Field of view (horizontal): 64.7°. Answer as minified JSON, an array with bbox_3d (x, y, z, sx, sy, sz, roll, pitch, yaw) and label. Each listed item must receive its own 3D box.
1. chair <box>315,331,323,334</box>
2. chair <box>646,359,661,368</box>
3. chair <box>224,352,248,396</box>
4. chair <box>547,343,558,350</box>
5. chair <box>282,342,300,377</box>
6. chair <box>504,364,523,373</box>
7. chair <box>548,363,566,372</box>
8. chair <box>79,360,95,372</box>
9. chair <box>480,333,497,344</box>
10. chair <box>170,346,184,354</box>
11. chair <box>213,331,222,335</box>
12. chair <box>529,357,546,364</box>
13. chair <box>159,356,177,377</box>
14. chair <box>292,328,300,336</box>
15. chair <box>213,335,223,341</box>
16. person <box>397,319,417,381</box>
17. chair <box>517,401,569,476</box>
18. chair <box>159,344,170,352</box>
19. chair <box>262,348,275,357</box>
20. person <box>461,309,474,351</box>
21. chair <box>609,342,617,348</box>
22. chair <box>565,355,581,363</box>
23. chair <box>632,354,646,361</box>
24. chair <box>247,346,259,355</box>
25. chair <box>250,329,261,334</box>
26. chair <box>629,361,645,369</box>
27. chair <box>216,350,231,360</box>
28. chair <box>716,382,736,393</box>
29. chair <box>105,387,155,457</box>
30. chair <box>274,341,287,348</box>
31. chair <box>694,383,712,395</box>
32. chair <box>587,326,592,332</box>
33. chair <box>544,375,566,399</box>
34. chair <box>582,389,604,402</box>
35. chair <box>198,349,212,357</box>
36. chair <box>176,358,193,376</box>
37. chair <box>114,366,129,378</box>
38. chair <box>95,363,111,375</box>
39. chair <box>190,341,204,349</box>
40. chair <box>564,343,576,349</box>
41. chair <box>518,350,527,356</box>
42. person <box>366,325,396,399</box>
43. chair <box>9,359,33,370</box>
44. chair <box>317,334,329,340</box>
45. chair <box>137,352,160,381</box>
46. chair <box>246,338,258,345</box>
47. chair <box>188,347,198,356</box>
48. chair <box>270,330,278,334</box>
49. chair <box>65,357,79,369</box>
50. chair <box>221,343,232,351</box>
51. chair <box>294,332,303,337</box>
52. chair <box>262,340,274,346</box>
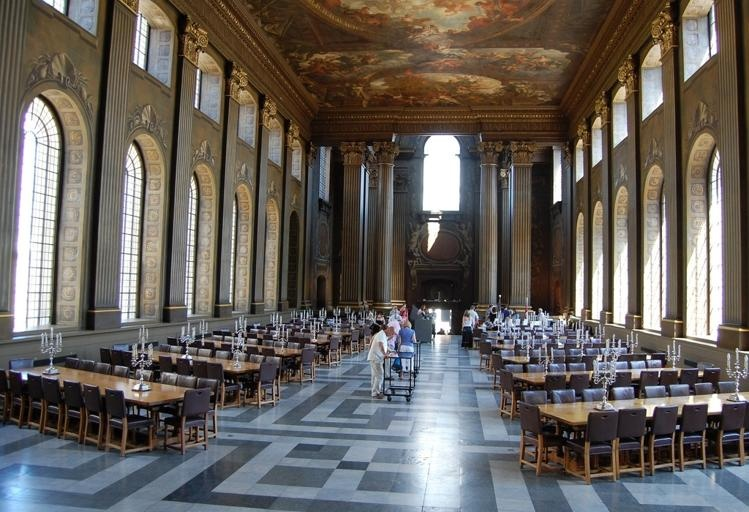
[{"bbox_3d":[-2.192,2.972,23.067,0.232,0.237,0.216,2,-9,-3],"label":"chair"},{"bbox_3d":[8.003,3.090,16.989,0.249,0.198,0.253,0,-1,11],"label":"chair"},{"bbox_3d":[-3.650,3.132,15.562,0.648,0.592,1.171,3,-4,-19],"label":"chair"},{"bbox_3d":[6.119,3.105,20.444,0.406,0.294,0.226,0,-6,3],"label":"chair"},{"bbox_3d":[-2.557,3.171,18.126,0.759,0.954,1.381,4,-6,-19],"label":"chair"},{"bbox_3d":[3.586,2.939,15.511,0.273,0.354,0.287,7,-11,-21],"label":"chair"},{"bbox_3d":[4.853,2.977,15.769,0.272,0.293,0.290,0,-4,6],"label":"chair"},{"bbox_3d":[-7.045,2.686,14.555,0.285,0.304,0.288,8,1,7],"label":"chair"},{"bbox_3d":[4.337,3.134,22.730,0.505,0.621,0.492,2,1,-1],"label":"chair"},{"bbox_3d":[-5.759,2.722,17.190,0.246,0.439,0.260,2,-9,2],"label":"chair"},{"bbox_3d":[-5.638,2.759,21.195,0.249,0.138,0.171,-1,-13,29],"label":"chair"},{"bbox_3d":[4.627,2.976,16.766,0.290,0.211,0.291,4,-3,-14],"label":"chair"},{"bbox_3d":[-5.389,2.821,15.229,0.381,0.510,0.419,1,0,23],"label":"chair"},{"bbox_3d":[-2.985,2.890,22.419,0.252,0.244,0.183,5,-10,-30],"label":"chair"},{"bbox_3d":[-5.378,2.814,20.410,0.184,0.144,0.191,0,-4,34],"label":"chair"},{"bbox_3d":[1.039,2.901,19.001,0.493,1.617,0.454,2,-4,7],"label":"person"},{"bbox_3d":[3.371,3.559,12.014,0.853,1.333,1.265,3,4,18],"label":"chair"},{"bbox_3d":[-6.255,2.731,17.610,0.247,0.362,0.265,4,-2,7],"label":"chair"},{"bbox_3d":[-3.050,2.757,16.999,0.243,0.425,0.247,5,-9,-40],"label":"chair"},{"bbox_3d":[4.446,3.525,28.312,0.483,1.583,1.642,2,4,10],"label":"person"},{"bbox_3d":[8.255,3.087,20.541,0.185,0.191,0.200,2,11,7],"label":"chair"},{"bbox_3d":[5.677,2.954,16.927,0.236,0.264,0.251,0,-3,-6],"label":"chair"},{"bbox_3d":[7.976,3.060,17.906,0.229,0.257,0.243,3,5,12],"label":"chair"},{"bbox_3d":[-3.486,2.678,16.961,0.224,0.405,0.239,1,3,15],"label":"chair"},{"bbox_3d":[-4.440,2.826,22.169,0.255,0.181,0.272,0,-5,11],"label":"chair"},{"bbox_3d":[7.373,2.996,16.645,0.347,0.355,0.194,1,-10,0],"label":"chair"},{"bbox_3d":[-4.294,2.797,16.750,0.232,0.340,0.248,2,-8,-1],"label":"chair"},{"bbox_3d":[8.296,3.106,14.083,0.343,0.271,0.332,-2,4,-7],"label":"chair"},{"bbox_3d":[-5.071,3.298,12.190,0.891,1.346,1.057,0,4,-25],"label":"chair"},{"bbox_3d":[-3.015,2.798,18.782,0.245,0.329,0.271,0,-19,4],"label":"chair"},{"bbox_3d":[7.761,3.141,13.992,0.280,0.408,0.320,-1,-16,12],"label":"chair"},{"bbox_3d":[9.620,3.292,26.508,0.243,0.288,0.246,0,-5,3],"label":"chair"},{"bbox_3d":[4.325,3.116,14.218,0.429,0.648,0.525,2,-4,3],"label":"chair"},{"bbox_3d":[4.715,3.006,12.832,0.290,0.399,0.317,6,-8,-36],"label":"chair"},{"bbox_3d":[-4.807,2.718,16.703,0.227,0.236,0.231,1,-2,18],"label":"chair"},{"bbox_3d":[-4.882,2.824,15.160,0.369,0.519,0.430,2,-1,22],"label":"chair"},{"bbox_3d":[-6.002,2.724,13.981,0.310,0.415,0.309,5,-9,-17],"label":"chair"},{"bbox_3d":[-6.527,2.695,14.275,0.272,0.313,0.394,-1,-9,20],"label":"chair"},{"bbox_3d":[-5.481,2.725,18.194,0.168,0.300,0.178,4,-17,3],"label":"chair"},{"bbox_3d":[6.555,3.014,19.935,0.319,0.244,0.326,1,-1,10],"label":"chair"},{"bbox_3d":[4.601,3.014,18.417,0.159,0.198,0.150,1,1,21],"label":"chair"},{"bbox_3d":[0.185,3.010,16.987,0.684,1.970,1.090,2,4,2],"label":"person"},{"bbox_3d":[-8.474,2.576,14.173,0.281,0.340,0.267,-1,-6,31],"label":"chair"},{"bbox_3d":[-1.969,3.047,22.209,0.298,0.208,0.222,0,-12,-1],"label":"chair"},{"bbox_3d":[-5.626,2.760,14.718,0.519,0.916,0.748,3,0,-10],"label":"chair"},{"bbox_3d":[-3.931,2.772,19.034,0.295,0.161,0.203,8,-38,-2],"label":"chair"},{"bbox_3d":[-5.156,2.714,16.869,0.215,0.311,0.214,3,-16,2],"label":"chair"},{"bbox_3d":[-3.726,2.791,21.734,0.241,0.182,0.243,1,-2,-7],"label":"chair"},{"bbox_3d":[-7.514,2.658,14.710,0.282,0.311,0.291,8,-7,-28],"label":"chair"},{"bbox_3d":[-4.477,2.734,17.833,0.268,0.375,0.214,1,-8,1],"label":"chair"},{"bbox_3d":[-2.814,2.889,21.903,0.274,0.227,0.276,1,-10,2],"label":"chair"},{"bbox_3d":[-3.451,2.807,19.110,0.215,0.313,0.217,-10,-14,44],"label":"chair"}]
